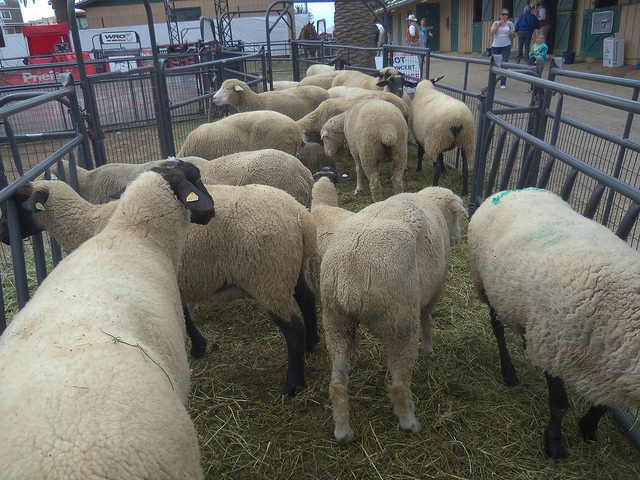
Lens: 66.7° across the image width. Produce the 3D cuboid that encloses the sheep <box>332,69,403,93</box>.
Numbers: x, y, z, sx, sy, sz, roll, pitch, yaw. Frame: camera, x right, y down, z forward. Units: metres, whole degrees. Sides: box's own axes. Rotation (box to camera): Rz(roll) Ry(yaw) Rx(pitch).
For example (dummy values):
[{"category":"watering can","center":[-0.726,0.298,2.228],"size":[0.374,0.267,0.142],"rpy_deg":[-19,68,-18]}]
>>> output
[{"category":"sheep","center":[0.865,-3.381,10.180],"size":[0.732,0.472,2.196],"rpy_deg":[-12,27,-17]}]

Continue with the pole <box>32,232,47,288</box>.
[{"category":"pole","center":[-2.104,0.130,3.694],"size":[0.061,0.383,0.062],"rpy_deg":[-6,6,45]}]

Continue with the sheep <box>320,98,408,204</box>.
[{"category":"sheep","center":[0.647,-1.480,7.634],"size":[0.714,1.540,2.470],"rpy_deg":[-7,17,-15]}]

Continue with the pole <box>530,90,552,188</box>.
[{"category":"pole","center":[2.144,-0.987,4.734],"size":[0.145,0.155,2.274],"rpy_deg":[25,41,3]}]

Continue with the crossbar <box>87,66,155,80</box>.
[{"category":"crossbar","center":[-2.422,-2.034,5.935],"size":[0.379,0.106,1.164],"rpy_deg":[-3,26,1]}]

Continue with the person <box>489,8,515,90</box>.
[{"category":"person","center":[4.972,-5.561,13.302],"size":[0.638,1.345,1.122],"rpy_deg":[6,26,20]}]

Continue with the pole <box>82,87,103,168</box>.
[{"category":"pole","center":[-2.562,-1.246,5.470],"size":[0.132,0.990,0.130],"rpy_deg":[-14,38,-39]}]

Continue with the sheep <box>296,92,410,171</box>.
[{"category":"sheep","center":[0.484,-1.744,8.531],"size":[0.727,1.543,2.672],"rpy_deg":[-19,25,-23]}]

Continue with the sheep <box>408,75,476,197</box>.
[{"category":"sheep","center":[1.870,-1.780,8.006],"size":[0.718,1.534,2.485],"rpy_deg":[-4,22,-1]}]
